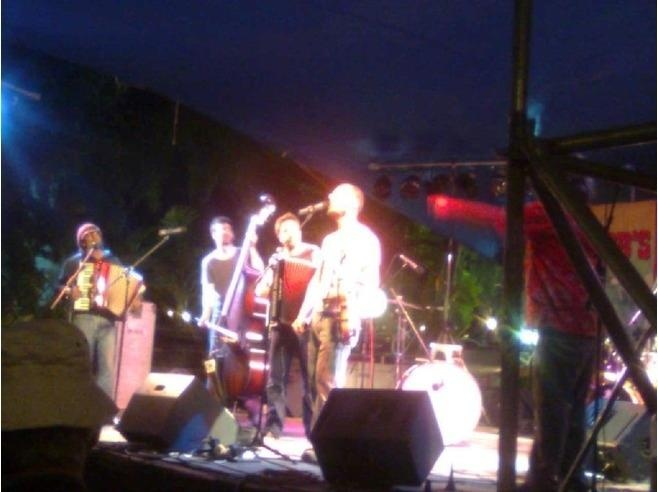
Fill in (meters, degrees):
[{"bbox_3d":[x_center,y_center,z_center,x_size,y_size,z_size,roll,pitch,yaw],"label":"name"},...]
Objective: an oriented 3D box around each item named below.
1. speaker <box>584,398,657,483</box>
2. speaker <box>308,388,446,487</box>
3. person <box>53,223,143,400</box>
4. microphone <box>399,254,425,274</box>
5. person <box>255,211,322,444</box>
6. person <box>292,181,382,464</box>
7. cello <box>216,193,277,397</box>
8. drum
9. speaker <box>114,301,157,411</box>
[{"bbox_3d":[2.486,1.641,5.473,0.602,0.783,0.716,3,0,28],"label":"speaker"},{"bbox_3d":[0.424,1.446,5.069,1.012,0.863,0.800,3,-6,20],"label":"speaker"},{"bbox_3d":[-2.857,0.734,7.791,0.722,1.974,1.057,-1,8,16],"label":"person"},{"bbox_3d":[1.275,0.297,9.682,0.131,0.135,0.486,32,0,-38],"label":"microphone"},{"bbox_3d":[-0.446,1.006,6.948,1.233,2.784,0.476,-1,-8,32],"label":"person"},{"bbox_3d":[0.027,0.884,6.775,0.921,3.154,0.883,-1,-5,32],"label":"person"},{"bbox_3d":[-0.955,0.907,7.443,0.635,2.786,0.722,-2,7,-39],"label":"cello"},{"bbox_3d":[1.387,1.704,7.257,0.931,1.166,1.001,4,-10,1],"label":"drum"},{"bbox_3d":[-2.537,1.440,8.127,0.489,1.503,0.523,1,4,-42],"label":"speaker"}]
